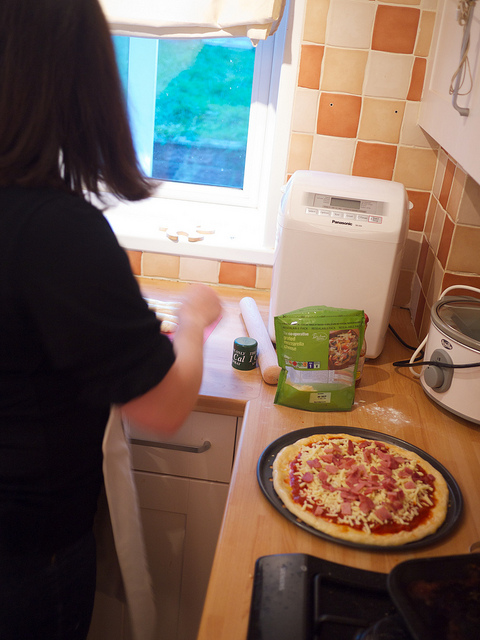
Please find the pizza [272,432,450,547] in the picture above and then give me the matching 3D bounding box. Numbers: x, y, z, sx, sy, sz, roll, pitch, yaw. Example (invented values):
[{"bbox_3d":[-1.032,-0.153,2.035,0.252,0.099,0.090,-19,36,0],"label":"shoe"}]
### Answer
[{"bbox_3d":[0.190,0.267,0.820,0.261,0.031,0.286,0,19,-10],"label":"pizza"}]
